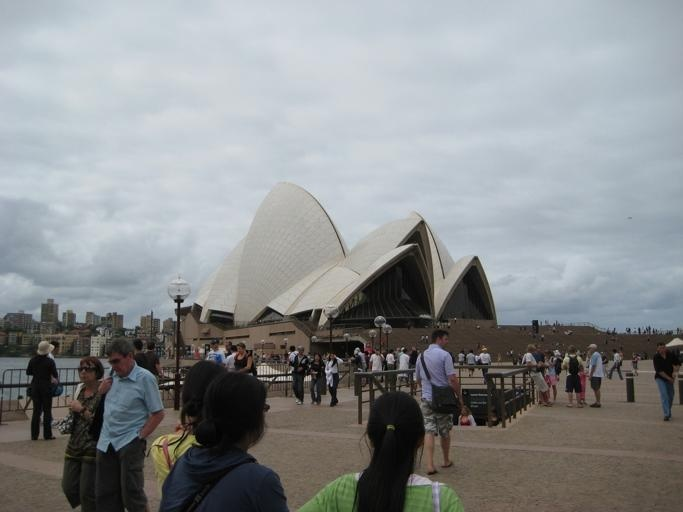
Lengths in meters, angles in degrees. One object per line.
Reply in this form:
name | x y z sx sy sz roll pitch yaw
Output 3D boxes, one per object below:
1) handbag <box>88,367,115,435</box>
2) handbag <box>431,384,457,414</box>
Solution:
handbag | -2.101 1.346 5.233 0.143 0.601 0.133 13 -16 2
handbag | 1.287 1.783 7.283 0.312 0.293 0.171 9 -30 -1
